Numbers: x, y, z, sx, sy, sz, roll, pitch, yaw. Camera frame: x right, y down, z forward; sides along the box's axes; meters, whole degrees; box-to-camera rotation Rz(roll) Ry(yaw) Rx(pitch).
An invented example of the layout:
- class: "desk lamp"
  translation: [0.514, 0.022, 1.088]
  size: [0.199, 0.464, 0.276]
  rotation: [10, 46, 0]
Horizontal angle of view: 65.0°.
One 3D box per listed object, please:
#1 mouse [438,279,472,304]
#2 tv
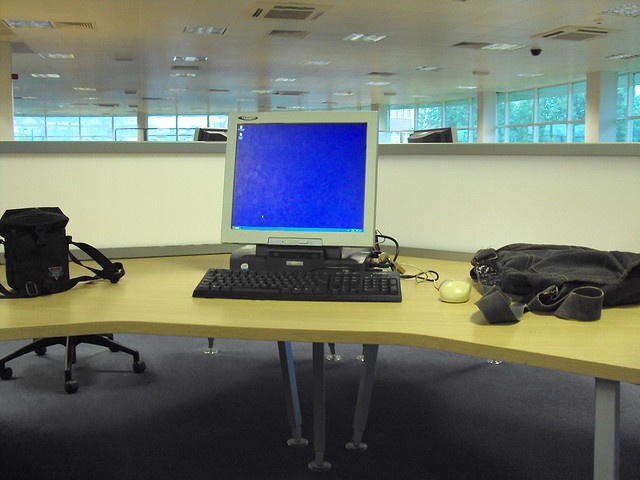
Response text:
- class: "mouse"
  translation: [0.402, 0.158, 1.510]
  size: [0.089, 0.055, 0.068]
  rotation: [3, 13, 14]
- class: "tv"
  translation: [-0.061, -0.203, 1.747]
  size: [0.716, 0.431, 0.061]
  rotation: [0, -10, 6]
